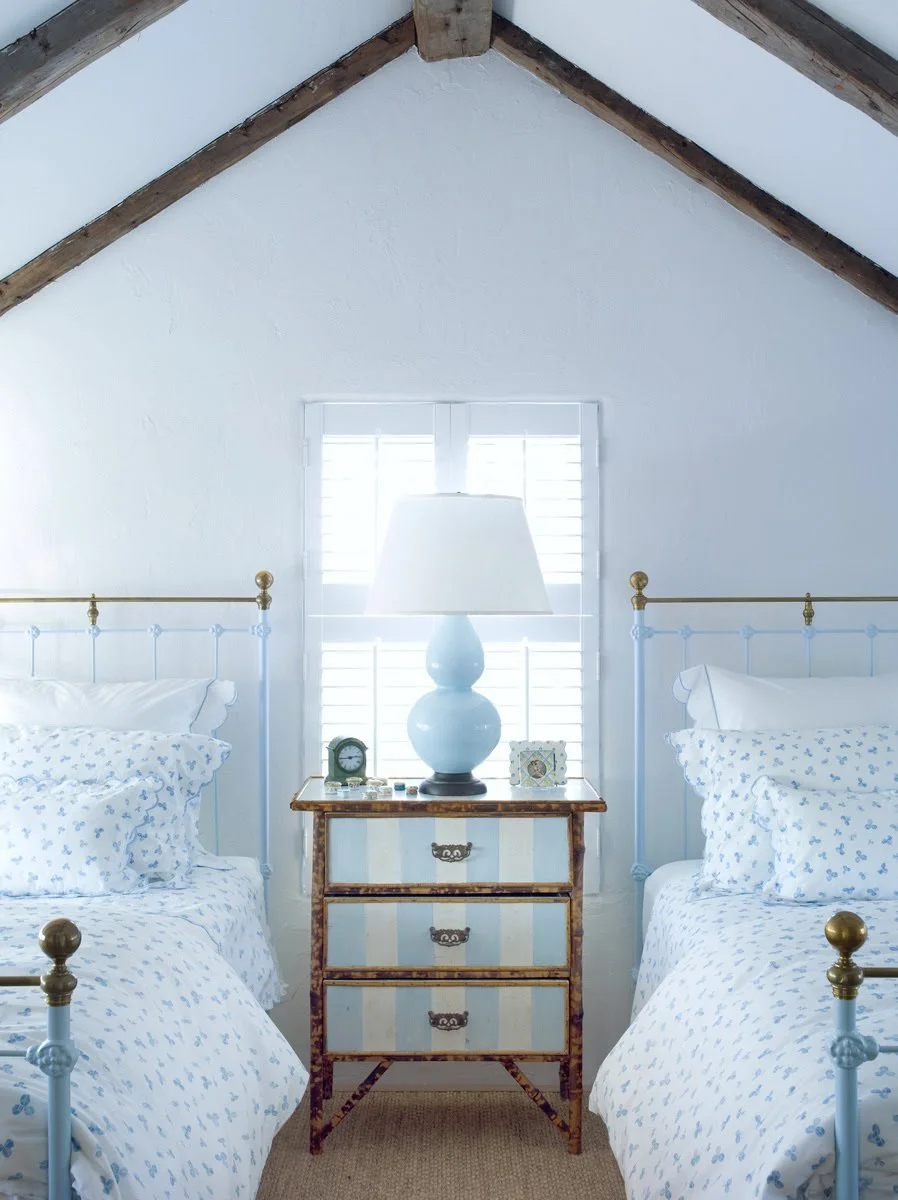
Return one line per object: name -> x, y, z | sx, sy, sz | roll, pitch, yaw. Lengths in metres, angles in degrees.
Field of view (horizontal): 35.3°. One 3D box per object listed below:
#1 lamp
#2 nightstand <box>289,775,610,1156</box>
lamp -> 0.011, 0.095, 2.979 | 0.352, 0.642, 0.289 | 2, -2, -16
nightstand -> 0.063, 0.805, 3.106 | 0.693, 0.724, 0.537 | 0, -14, 1
